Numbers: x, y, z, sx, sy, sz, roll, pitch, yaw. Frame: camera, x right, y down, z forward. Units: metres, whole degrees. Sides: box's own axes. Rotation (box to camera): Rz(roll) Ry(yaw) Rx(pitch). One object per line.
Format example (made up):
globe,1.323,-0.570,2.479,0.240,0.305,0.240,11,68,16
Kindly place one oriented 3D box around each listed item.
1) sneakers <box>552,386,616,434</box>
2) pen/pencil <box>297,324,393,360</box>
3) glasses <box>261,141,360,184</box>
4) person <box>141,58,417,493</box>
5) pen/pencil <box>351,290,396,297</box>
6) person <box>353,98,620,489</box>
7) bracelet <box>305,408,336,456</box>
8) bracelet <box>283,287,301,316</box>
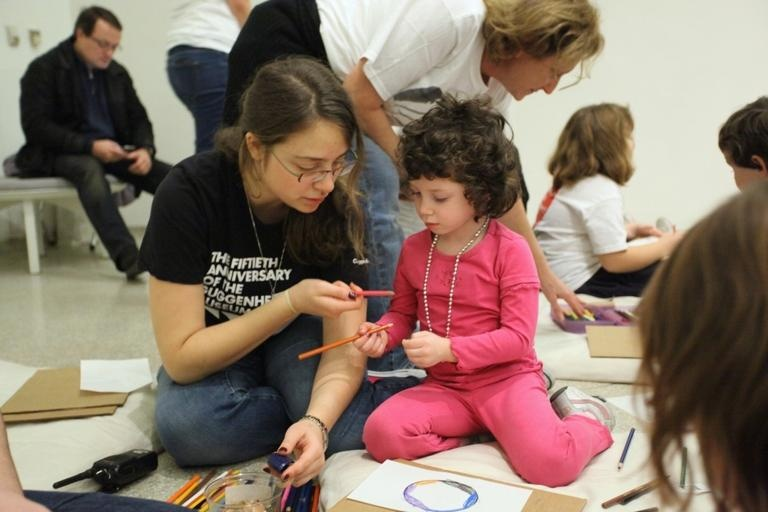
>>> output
sneakers,0.579,0.448,1.765,0.180,0.109,0.104,18,-18,-30
pen/pencil,-0.111,0.247,1.755,0.326,0.023,0.026,-18,27,-27
glasses,-0.205,-0.257,1.669,0.159,0.050,0.161,37,34,29
person,-0.230,-0.025,2.176,0.940,1.277,1.066,-7,13,-42
pen/pencil,-0.032,0.108,1.779,0.148,0.017,0.017,-4,-18,9
person,0.284,0.062,1.668,0.655,1.009,0.450,3,9,21
bracelet,-0.145,0.480,1.620,0.035,0.119,0.105,-30,8,0
bracelet,-0.256,0.125,1.675,0.014,0.059,0.054,-20,27,6
